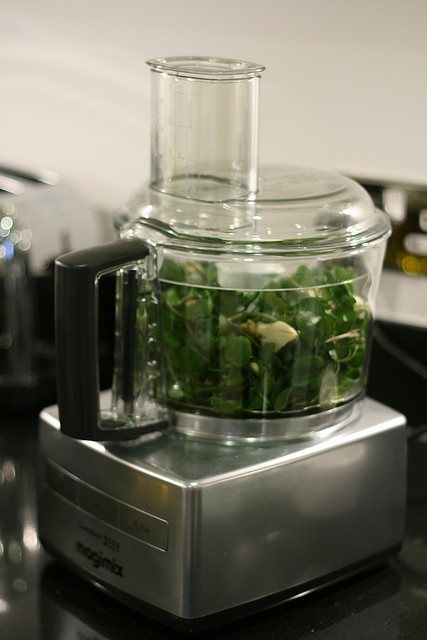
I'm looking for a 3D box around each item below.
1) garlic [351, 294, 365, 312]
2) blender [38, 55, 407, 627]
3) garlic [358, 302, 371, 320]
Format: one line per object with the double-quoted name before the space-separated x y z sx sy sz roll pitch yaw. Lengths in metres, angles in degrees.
"garlic" 0.113 -0.013 0.483 0.011 0.013 0.013 2 11 1
"blender" -0.002 0.023 0.526 0.286 0.392 0.244 -5 10 -31
"garlic" 0.122 -0.007 0.499 0.012 0.014 0.014 2 11 12
